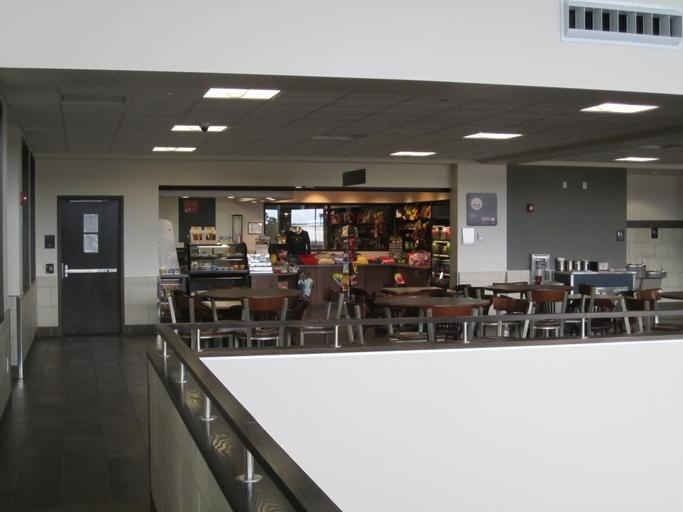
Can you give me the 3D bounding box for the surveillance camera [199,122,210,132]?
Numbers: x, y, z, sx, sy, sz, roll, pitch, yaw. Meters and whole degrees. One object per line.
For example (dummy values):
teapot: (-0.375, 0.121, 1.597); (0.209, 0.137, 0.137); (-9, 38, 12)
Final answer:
surveillance camera: (-1.903, -1.783, 7.484); (0.098, 0.073, 0.090); (5, 19, 11)
